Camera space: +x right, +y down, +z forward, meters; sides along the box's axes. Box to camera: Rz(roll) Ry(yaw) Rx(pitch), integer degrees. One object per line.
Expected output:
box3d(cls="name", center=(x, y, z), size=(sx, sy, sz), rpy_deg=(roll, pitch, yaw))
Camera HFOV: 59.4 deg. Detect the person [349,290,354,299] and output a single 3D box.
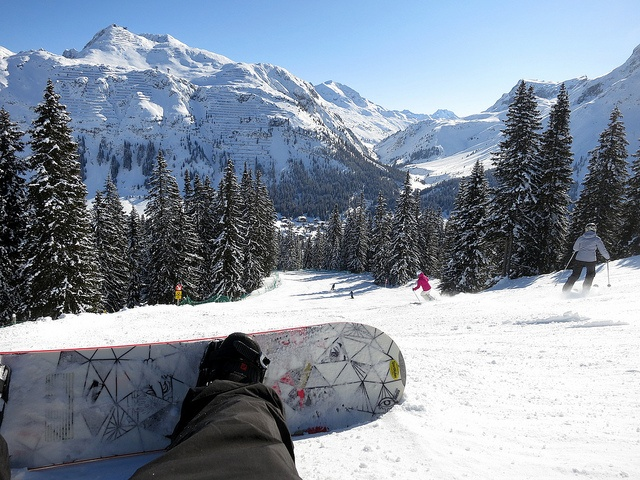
box3d(cls="person", center=(2.457, 4.169, 43.047), size=(0.317, 0.510, 1.190), rpy_deg=(4, 6, 7))
